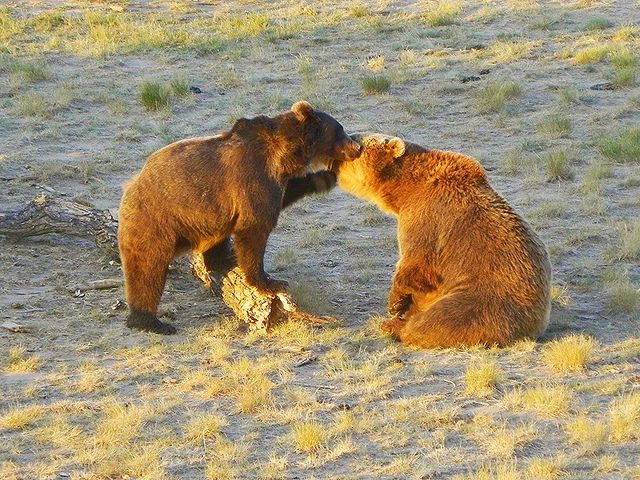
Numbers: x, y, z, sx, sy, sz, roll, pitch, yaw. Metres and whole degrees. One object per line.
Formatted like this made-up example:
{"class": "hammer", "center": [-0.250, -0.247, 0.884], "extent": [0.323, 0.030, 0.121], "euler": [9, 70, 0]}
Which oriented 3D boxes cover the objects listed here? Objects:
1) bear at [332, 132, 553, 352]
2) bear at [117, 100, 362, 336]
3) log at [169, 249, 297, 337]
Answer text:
{"class": "bear", "center": [1.621, 0.063, 11.347], "extent": [2.788, 2.142, 1.637], "euler": [12, 2, 32]}
{"class": "bear", "center": [-1.021, -0.368, 11.006], "extent": [2.963, 1.937, 1.280], "euler": [-15, 18, -27]}
{"class": "log", "center": [-0.893, 0.478, 11.207], "extent": [1.715, 0.546, 0.689], "euler": [31, 40, 30]}
